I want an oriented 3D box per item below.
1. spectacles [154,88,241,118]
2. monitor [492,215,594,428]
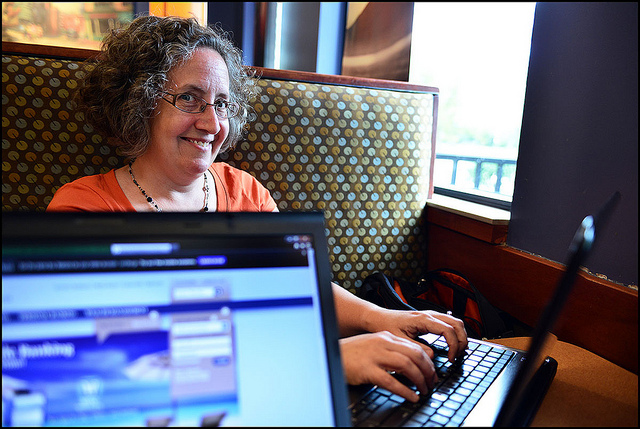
[{"bbox_3d":[-0.349,-0.345,1.358,0.274,0.094,0.085,-13,21,-36],"label":"spectacles"},{"bbox_3d":[0.547,0.259,1.068,0.241,0.208,0.328,17,21,8],"label":"monitor"}]
